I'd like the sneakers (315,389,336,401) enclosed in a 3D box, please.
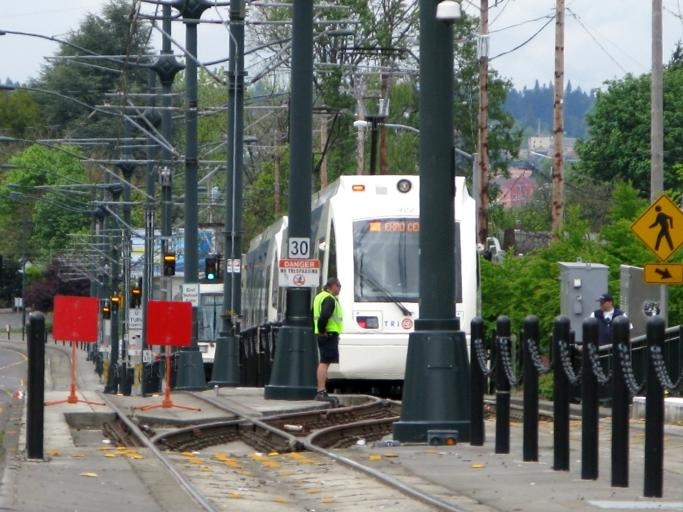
[{"bbox_3d":[-0.307,2.596,28.473,0.452,0.203,0.160,-2,-5,43],"label":"sneakers"}]

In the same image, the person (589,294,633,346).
[{"bbox_3d":[4.792,1.107,26.591,0.759,1.283,0.445,-7,-20,28],"label":"person"}]

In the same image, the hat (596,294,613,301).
[{"bbox_3d":[5.289,0.804,29.797,0.217,0.111,0.153,5,-2,-14],"label":"hat"}]

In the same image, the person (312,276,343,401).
[{"bbox_3d":[-0.230,1.558,28.431,0.530,2.308,0.771,-1,-4,-2],"label":"person"}]
